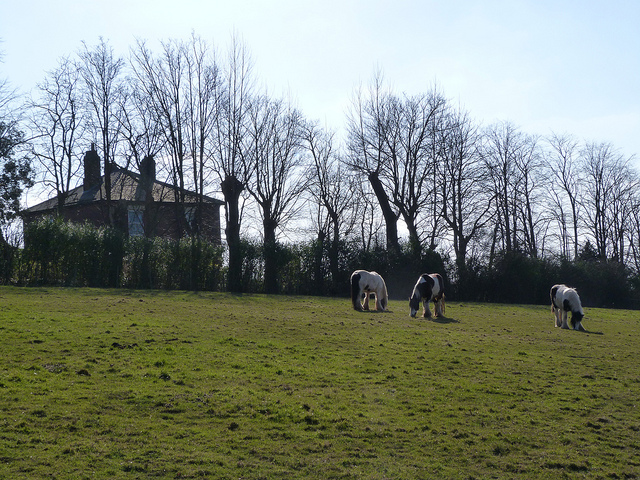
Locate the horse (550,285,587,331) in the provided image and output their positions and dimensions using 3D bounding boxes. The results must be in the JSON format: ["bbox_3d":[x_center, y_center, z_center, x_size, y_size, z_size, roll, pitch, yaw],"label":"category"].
[{"bbox_3d":[11.400,3.146,31.644,1.077,1.823,2.653,2,4,4],"label":"horse"}]

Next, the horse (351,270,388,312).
[{"bbox_3d":[2.568,2.632,36.383,1.021,2.212,3.576,-2,-11,36],"label":"horse"}]

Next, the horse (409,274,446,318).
[{"bbox_3d":[5.384,2.720,34.365,0.874,2.274,3.580,1,7,37],"label":"horse"}]
